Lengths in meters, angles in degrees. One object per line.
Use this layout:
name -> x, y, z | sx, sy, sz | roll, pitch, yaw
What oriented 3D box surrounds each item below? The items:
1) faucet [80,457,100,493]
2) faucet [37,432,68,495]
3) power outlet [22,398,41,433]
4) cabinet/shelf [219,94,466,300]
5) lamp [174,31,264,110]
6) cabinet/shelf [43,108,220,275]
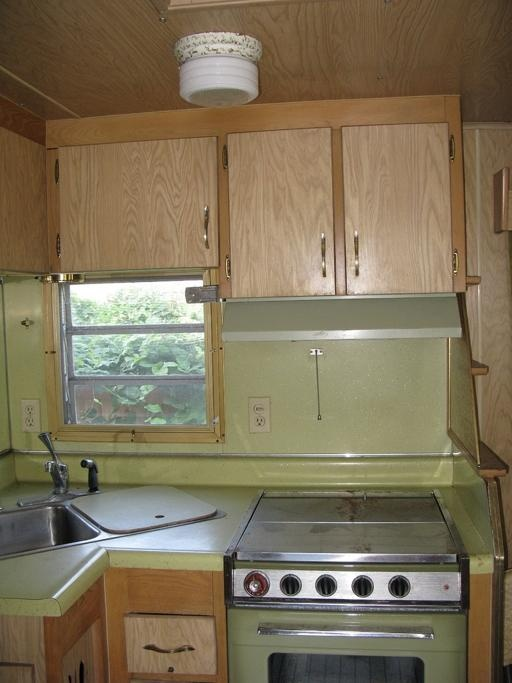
faucet -> -0.588, 0.462, 2.147 | 0.062, 0.151, 0.235 | -2, 5, -16
faucet -> -0.722, 0.419, 2.170 | 0.089, 0.245, 0.306 | -2, 5, -19
power outlet -> -0.855, 0.281, 2.300 | 0.079, 0.121, 0.011 | 1, 5, 10
cabinet/shelf -> 0.256, -0.431, 1.950 | 0.754, 0.561, 0.276 | -2, 7, 4
lamp -> -0.091, -0.678, 1.535 | 0.217, 0.115, 0.218 | -3, 5, -35
cabinet/shelf -> -0.344, -0.446, 2.069 | 0.603, 0.432, 0.334 | -1, -1, 21
